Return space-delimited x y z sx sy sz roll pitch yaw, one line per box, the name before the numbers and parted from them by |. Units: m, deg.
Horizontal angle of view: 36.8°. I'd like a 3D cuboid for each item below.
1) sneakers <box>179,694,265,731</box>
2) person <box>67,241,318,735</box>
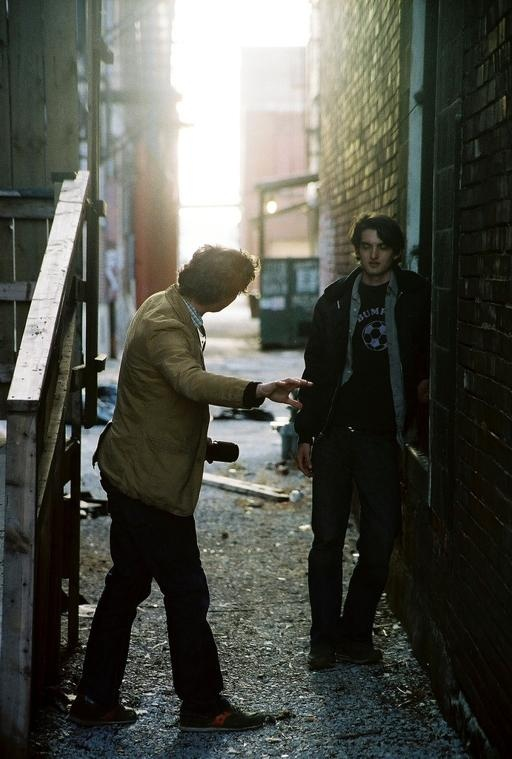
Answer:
sneakers | -0.118 1.126 2.660 0.288 0.172 0.117 -1 -7 -11
person | -0.227 0.372 2.549 0.760 1.632 0.517 3 3 41
